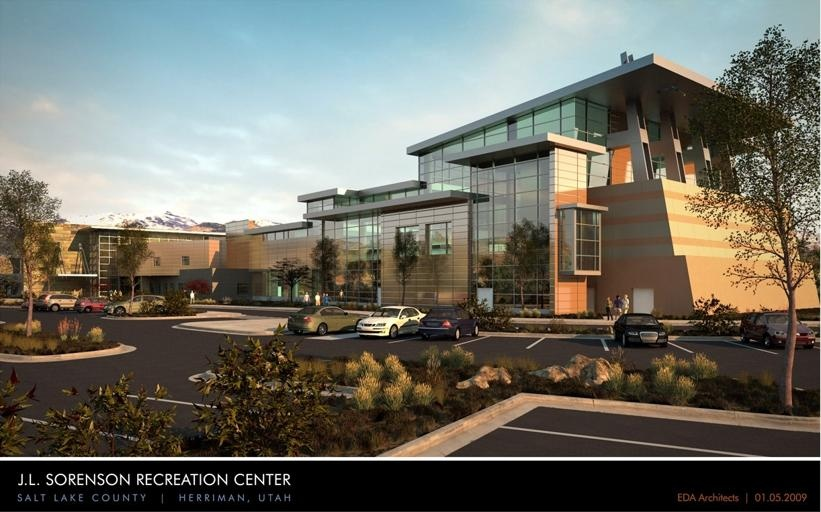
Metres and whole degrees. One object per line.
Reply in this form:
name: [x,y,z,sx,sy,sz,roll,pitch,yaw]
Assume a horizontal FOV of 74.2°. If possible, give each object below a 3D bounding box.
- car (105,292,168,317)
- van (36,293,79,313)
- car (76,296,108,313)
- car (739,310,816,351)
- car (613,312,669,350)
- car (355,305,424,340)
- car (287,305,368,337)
car: [-20.490,3.642,40.765,4.597,1.478,1.985,-2,-5,12]
van: [-30.922,3.990,47.273,3.630,1.328,1.720,-3,3,-40]
car: [-27.111,4.150,46.143,2.754,1.175,1.616,-5,-6,37]
car: [15.878,3.211,24.045,1.792,1.436,3.690,0,-8,0]
car: [9.957,3.229,23.824,1.175,0.893,2.757,-1,-7,4]
car: [-1.020,3.201,26.339,3.067,1.437,1.126,3,-6,-38]
car: [-4.486,3.328,28.352,1.688,1.139,3.730,1,2,44]
